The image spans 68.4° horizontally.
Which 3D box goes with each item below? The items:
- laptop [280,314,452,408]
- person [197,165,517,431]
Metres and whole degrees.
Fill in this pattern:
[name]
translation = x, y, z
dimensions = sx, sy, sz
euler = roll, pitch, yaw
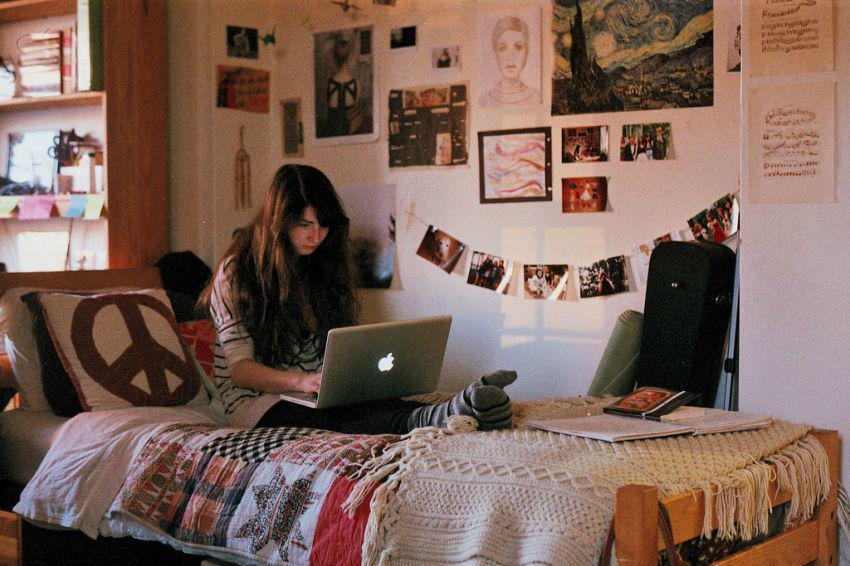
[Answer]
[laptop]
translation = -0.159, 0.210, 2.240
dimensions = 0.456, 0.273, 0.388
euler = -2, 3, -41
[person]
translation = -0.279, 0.079, 2.433
dimensions = 1.412, 1.055, 0.642
euler = 4, 8, 41
